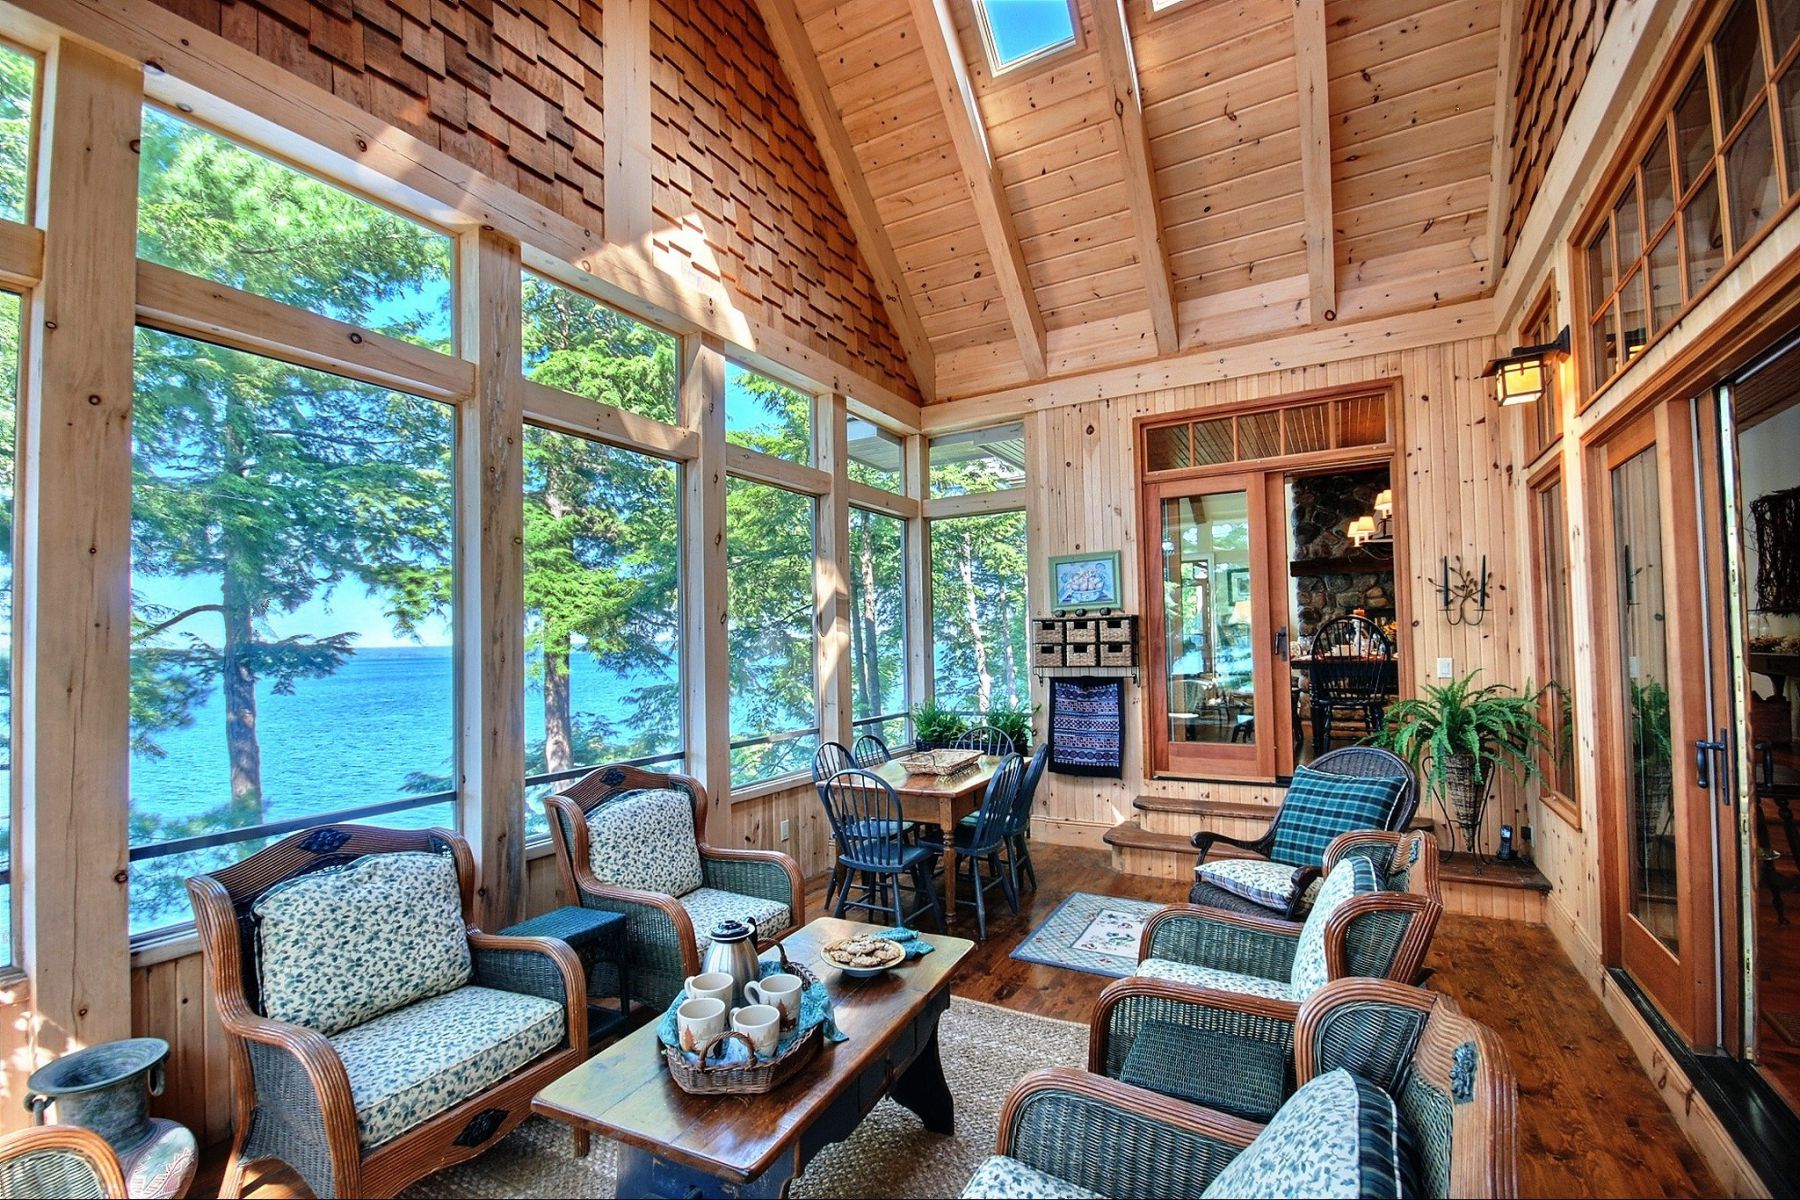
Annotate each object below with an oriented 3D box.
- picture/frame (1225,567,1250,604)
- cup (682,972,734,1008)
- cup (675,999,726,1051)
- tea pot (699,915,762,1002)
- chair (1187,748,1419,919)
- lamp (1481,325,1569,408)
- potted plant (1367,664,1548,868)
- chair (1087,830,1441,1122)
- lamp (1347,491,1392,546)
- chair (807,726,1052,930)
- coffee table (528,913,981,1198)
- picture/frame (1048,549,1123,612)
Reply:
[{"bbox_3d":[2.386,-0.118,7.974,0.169,0.244,0.036,-8,-5,43],"label":"picture/frame"},{"bbox_3d":[-0.730,1.477,4.337,0.150,0.109,0.114,0,0,1],"label":"cup"},{"bbox_3d":[-0.742,1.581,4.243,0.136,0.121,0.170,1,-5,-43],"label":"cup"},{"bbox_3d":[-0.648,1.429,4.551,0.244,0.327,0.309,-11,-19,36],"label":"tea pot"},{"bbox_3d":[2.059,1.185,6.014,1.021,1.113,0.815,7,-9,-24],"label":"chair"},{"bbox_3d":[3.332,-1.211,6.062,0.379,0.487,0.369,2,-2,24],"label":"lamp"},{"bbox_3d":[3.425,0.992,6.888,0.969,1.145,1.160,-1,-1,14],"label":"potted plant"},{"bbox_3d":[1.554,1.549,4.645,1.140,1.414,1.062,0,-3,26],"label":"chair"},{"bbox_3d":[4.413,-0.768,10.611,0.330,0.624,0.512,4,-3,1],"label":"lamp"},{"bbox_3d":[0.108,1.261,6.616,1.124,0.538,1.134,-2,-1,24],"label":"chair"},{"bbox_3d":[-0.554,1.426,4.324,0.805,0.755,1.584,-1,1,23],"label":"coffee table"},{"bbox_3d":[1.387,-0.148,8.346,0.457,0.376,0.050,-2,-7,31],"label":"picture/frame"}]
